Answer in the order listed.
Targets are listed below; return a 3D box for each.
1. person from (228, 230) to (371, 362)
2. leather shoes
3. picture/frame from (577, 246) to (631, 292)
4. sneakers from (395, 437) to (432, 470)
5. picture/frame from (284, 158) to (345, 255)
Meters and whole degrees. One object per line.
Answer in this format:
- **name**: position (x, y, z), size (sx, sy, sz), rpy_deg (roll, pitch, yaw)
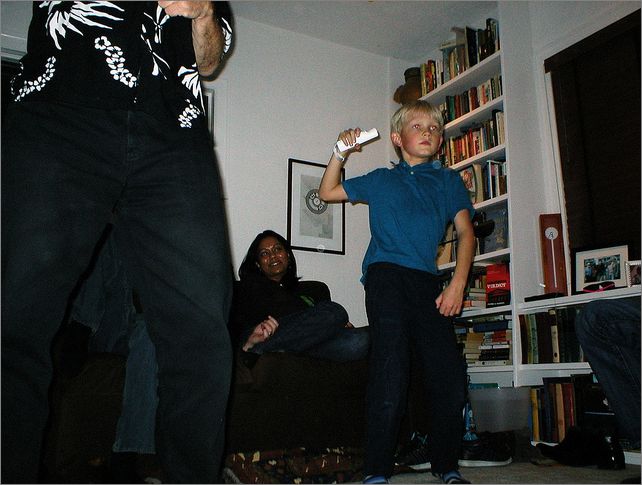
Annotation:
- **person**: position (-0.126, 0.267, 2.645), size (0.621, 0.811, 0.524), rpy_deg (-19, -21, 26)
- **leather shoes**: position (1.160, 0.928, 2.301), size (0.132, 0.166, 0.384), rpy_deg (-13, -3, -42)
- **picture/frame**: position (1.564, 0.149, 2.760), size (0.016, 0.230, 0.211), rpy_deg (28, -32, -26)
- **sneakers**: position (0.352, 0.898, 2.135), size (0.244, 0.117, 0.087), rpy_deg (4, -16, -7)
- **picture/frame**: position (-0.064, -0.228, 3.387), size (0.587, 0.869, 0.029), rpy_deg (7, -16, -31)
